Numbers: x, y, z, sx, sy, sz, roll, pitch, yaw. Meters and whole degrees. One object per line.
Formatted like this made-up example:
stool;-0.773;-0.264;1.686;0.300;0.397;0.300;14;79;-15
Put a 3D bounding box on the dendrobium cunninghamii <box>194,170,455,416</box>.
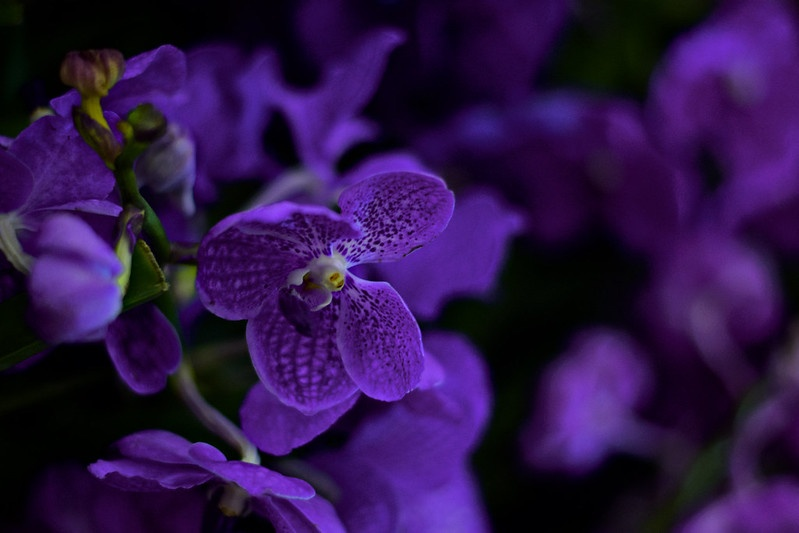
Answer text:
dendrobium cunninghamii;-0.084;0.029;0.944;0.292;0.174;0.227;-1;63;-13
